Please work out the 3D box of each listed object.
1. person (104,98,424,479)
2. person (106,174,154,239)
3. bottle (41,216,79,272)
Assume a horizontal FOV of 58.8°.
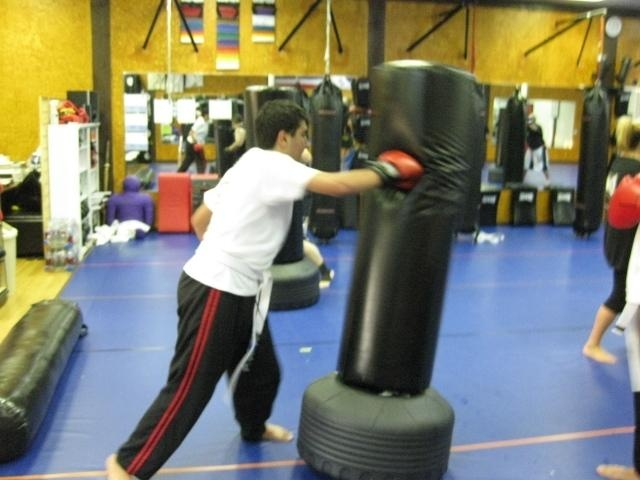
[{"bbox_3d":[-0.342,0.373,2.761,1.300,1.612,0.588,-1,11,-5],"label":"person"},{"bbox_3d":[-2.516,-0.412,7.514,0.609,0.965,0.275,-8,29,-26],"label":"person"},{"bbox_3d":[-2.644,0.033,5.847,0.324,0.488,0.333,0,11,0],"label":"bottle"}]
